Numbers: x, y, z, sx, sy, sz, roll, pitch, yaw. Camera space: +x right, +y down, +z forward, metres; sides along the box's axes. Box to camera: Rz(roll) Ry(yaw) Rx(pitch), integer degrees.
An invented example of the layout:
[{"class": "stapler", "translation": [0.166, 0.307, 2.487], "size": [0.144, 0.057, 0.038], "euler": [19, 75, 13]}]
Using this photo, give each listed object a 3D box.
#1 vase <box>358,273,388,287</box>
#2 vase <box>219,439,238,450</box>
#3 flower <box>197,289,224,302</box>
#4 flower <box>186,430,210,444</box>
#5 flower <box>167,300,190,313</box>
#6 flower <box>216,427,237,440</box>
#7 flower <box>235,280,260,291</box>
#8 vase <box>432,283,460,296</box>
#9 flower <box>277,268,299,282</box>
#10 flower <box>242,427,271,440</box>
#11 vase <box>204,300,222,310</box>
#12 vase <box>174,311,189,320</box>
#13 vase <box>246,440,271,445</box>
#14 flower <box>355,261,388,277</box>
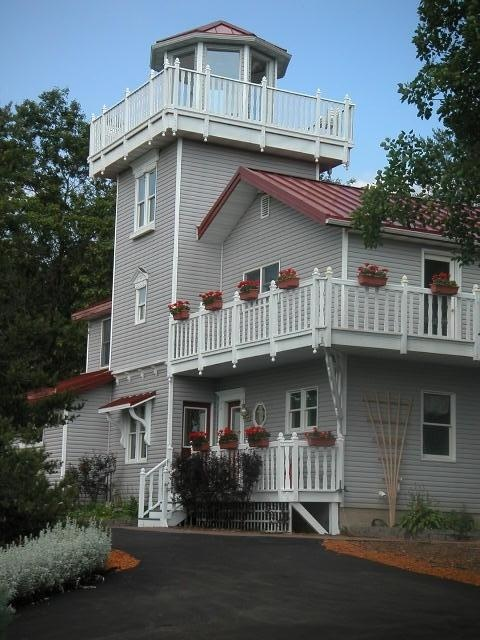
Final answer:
[{"class": "vase", "translation": [2.492, -0.727, 18.613], "size": [0.549, 0.217, 0.230], "euler": [3, -11, -11]}, {"class": "vase", "translation": [-0.220, 2.641, 20.883], "size": [0.175, 0.214, 0.571], "euler": [11, -15, -43]}, {"class": "flower", "translation": [-0.588, -0.540, 22.273], "size": [0.366, 0.254, 0.368], "euler": [-1, -3, 24]}, {"class": "flower", "translation": [-0.907, 2.657, 22.081], "size": [0.370, 0.349, 0.373], "euler": [-2, 8, 9]}, {"class": "flower", "translation": [-1.376, -0.316, 23.545], "size": [0.388, 0.269, 0.334], "euler": [3, -9, -43]}, {"class": "flower", "translation": [-0.266, 2.447, 21.051], "size": [0.322, 0.231, 0.325], "euler": [3, -12, 2]}, {"class": "flower", "translation": [0.191, -0.715, 20.672], "size": [0.301, 0.208, 0.302], "euler": [4, -4, -18]}, {"class": "vase", "translation": [4.002, -0.578, 19.312], "size": [0.359, 0.116, 0.236], "euler": [9, -12, -23]}, {"class": "flower", "translation": [0.952, -0.924, 19.383], "size": [0.305, 0.268, 0.297], "euler": [2, -6, 2]}, {"class": "flower", "translation": [0.366, 2.261, 19.762], "size": [0.329, 0.224, 0.294], "euler": [3, -8, -4]}, {"class": "vase", "translation": [-0.576, -0.311, 22.096], "size": [0.195, 0.218, 0.606], "euler": [7, -13, -29]}, {"class": "vase", "translation": [-1.373, -0.086, 23.436], "size": [0.197, 0.187, 0.510], "euler": [7, -13, -29]}, {"class": "vase", "translation": [0.369, 2.483, 19.798], "size": [0.209, 0.157, 0.587], "euler": [9, -14, -36]}, {"class": "flower", "translation": [2.521, -0.931, 18.672], "size": [0.369, 0.182, 0.514], "euler": [8, 1, 39]}]
